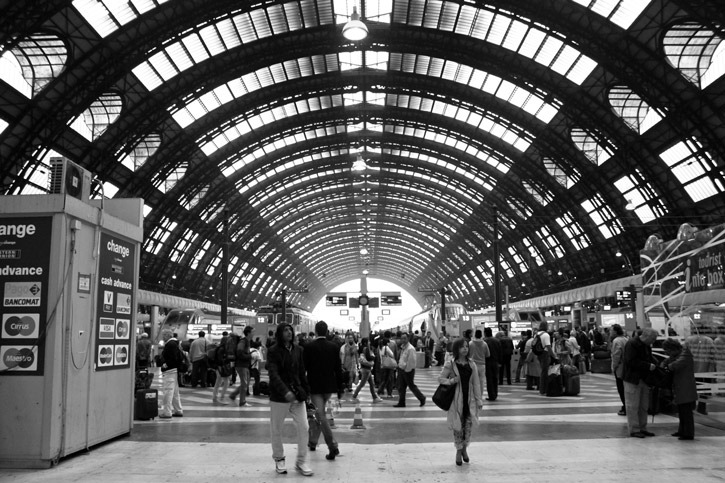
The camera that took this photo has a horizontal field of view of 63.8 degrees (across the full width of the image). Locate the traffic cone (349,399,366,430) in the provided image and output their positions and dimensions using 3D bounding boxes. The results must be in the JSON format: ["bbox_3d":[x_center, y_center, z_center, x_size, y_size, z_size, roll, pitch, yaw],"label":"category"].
[{"bbox_3d":[-0.125,4.931,16.614,0.618,0.876,0.596,8,-12,-36],"label":"traffic cone"}]
